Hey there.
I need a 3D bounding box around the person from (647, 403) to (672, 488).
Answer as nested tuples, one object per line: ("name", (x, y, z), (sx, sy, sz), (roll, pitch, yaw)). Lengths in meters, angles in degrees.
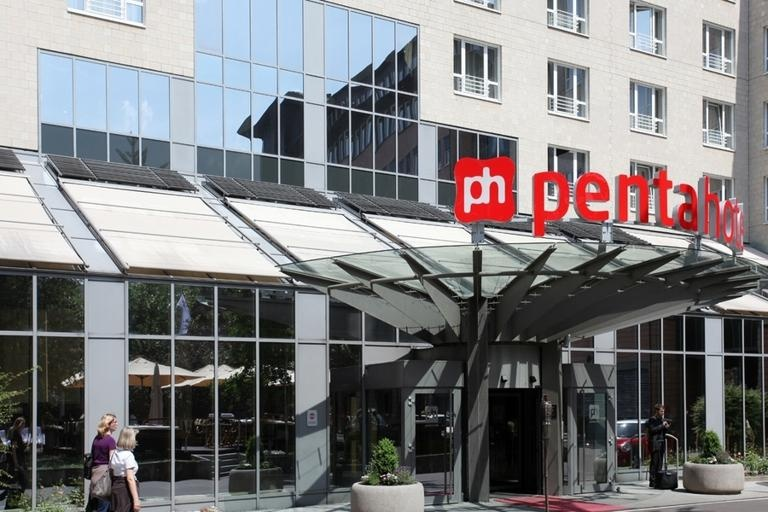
("person", (9.250, 6.384, 41.469), (0.835, 2.643, 0.670), (-1, -3, 2))
